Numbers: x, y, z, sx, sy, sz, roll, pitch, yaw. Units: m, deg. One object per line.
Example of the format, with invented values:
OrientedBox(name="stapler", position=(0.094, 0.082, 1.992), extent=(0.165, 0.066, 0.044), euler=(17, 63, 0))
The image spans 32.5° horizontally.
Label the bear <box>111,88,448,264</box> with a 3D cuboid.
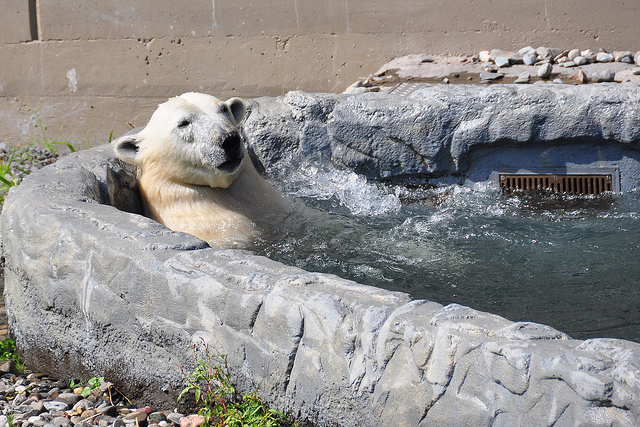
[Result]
OrientedBox(name="bear", position=(-0.609, -0.370, 10.546), extent=(2.564, 1.564, 0.944), euler=(1, 8, 6))
